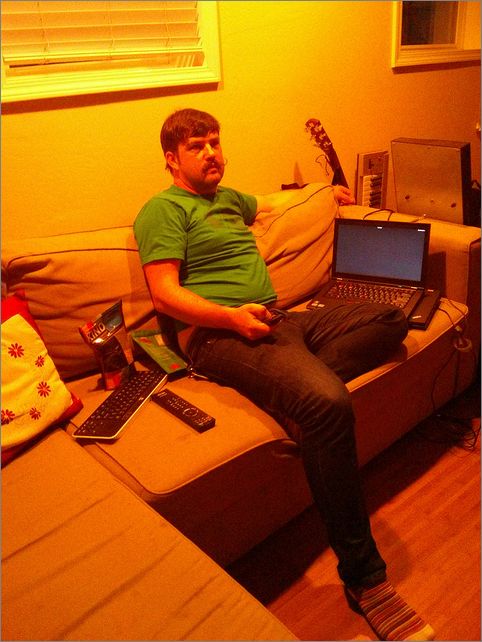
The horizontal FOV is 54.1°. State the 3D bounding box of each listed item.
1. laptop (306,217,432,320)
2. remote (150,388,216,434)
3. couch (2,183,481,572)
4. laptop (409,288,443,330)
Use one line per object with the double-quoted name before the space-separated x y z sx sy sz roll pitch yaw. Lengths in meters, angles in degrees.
"laptop" 0.460 -0.196 1.723 0.392 0.222 0.358 16 38 38
"remote" -0.150 0.230 1.218 0.067 0.039 0.214 -23 36 -37
"couch" -0.002 0.163 1.338 0.542 0.526 1.007 30 46 35
"laptop" 0.648 -0.031 1.680 0.120 0.036 0.182 20 58 36
